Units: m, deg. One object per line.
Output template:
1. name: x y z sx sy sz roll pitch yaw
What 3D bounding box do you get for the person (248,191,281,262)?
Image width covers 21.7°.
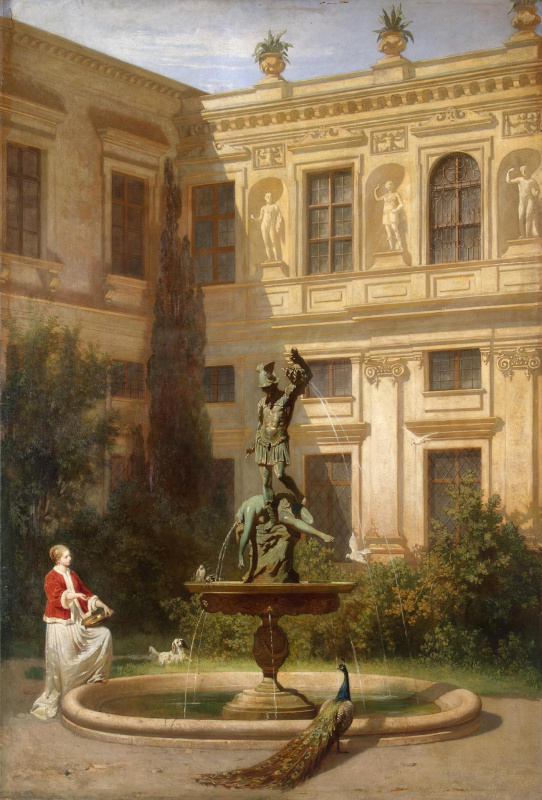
1. person: -0.027 -2.171 17.811 0.292 0.884 0.093 -2 -4 27

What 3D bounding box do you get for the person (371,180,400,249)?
1. person: 1.378 -2.189 16.925 0.125 0.863 0.395 3 -5 -42

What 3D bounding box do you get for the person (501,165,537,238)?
1. person: 2.802 -2.243 16.016 0.382 0.822 0.140 -1 -4 18
